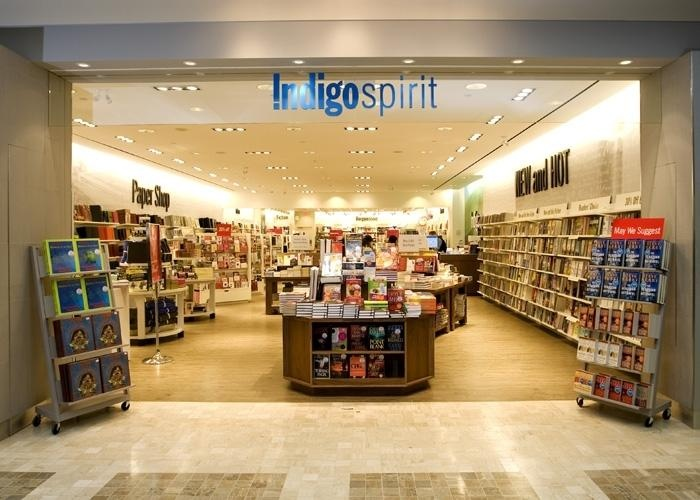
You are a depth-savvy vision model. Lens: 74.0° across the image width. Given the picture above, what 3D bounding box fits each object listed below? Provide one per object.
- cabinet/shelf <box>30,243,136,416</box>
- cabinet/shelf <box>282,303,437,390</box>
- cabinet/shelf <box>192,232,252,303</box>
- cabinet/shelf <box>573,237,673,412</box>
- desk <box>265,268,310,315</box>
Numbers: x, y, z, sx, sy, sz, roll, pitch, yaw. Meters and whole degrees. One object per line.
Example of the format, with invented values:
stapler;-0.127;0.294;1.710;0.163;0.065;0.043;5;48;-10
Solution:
cabinet/shelf;-3.209;0.943;5.495;0.989;2.128;0.688;-5;9;-35
cabinet/shelf;0.106;1.201;6.530;1.923;0.882;1.049;-1;-2;-1
cabinet/shelf;-3.670;0.503;13.104;0.700;2.427;2.150;-1;-1;32
cabinet/shelf;3.525;0.858;5.904;0.983;2.076;1.566;4;9;33
desk;-1.597;0.868;11.637;1.368;0.802;1.345;-1;-2;-1
